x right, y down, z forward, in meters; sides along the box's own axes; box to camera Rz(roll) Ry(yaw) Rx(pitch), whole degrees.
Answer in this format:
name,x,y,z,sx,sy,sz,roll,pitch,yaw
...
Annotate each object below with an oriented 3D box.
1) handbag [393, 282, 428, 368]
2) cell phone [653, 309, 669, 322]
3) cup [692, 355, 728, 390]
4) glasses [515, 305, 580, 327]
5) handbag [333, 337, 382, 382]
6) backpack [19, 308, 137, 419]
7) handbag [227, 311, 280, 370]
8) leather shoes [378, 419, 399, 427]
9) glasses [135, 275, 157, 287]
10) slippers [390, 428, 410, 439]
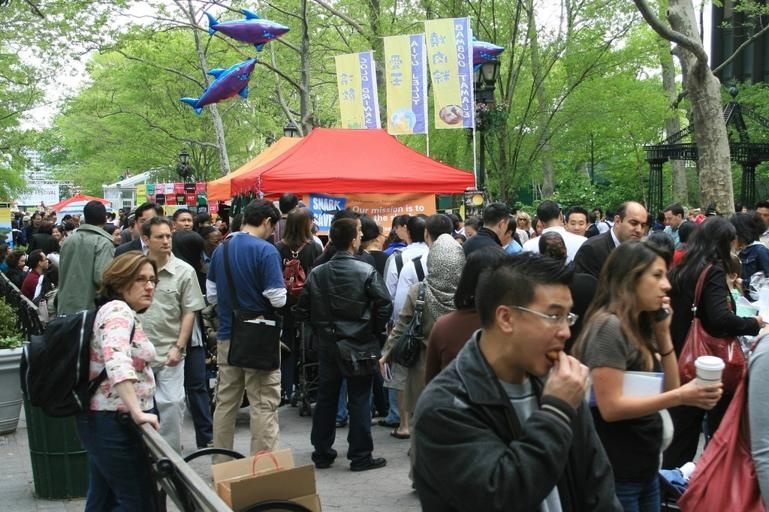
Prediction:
name,x,y,z,sx,sy,sz,roll,pitch,yaw
handbag,0.237,0.768,8.643,0.311,0.793,0.521,16,7,26
cell phone,2.226,0.479,6.376,0.078,0.066,0.135,22,55,38
cup,2.490,0.894,6.081,0.219,0.177,0.215,0,2,0
glasses,1.134,0.405,5.344,0.520,0.167,0.216,-4,1,-40
handbag,-0.260,1.103,8.920,0.669,0.593,0.380,1,-8,-28
backpack,-2.750,0.932,6.753,0.796,0.832,0.185,-4,2,3
handbag,-1.403,0.927,8.547,0.614,0.602,0.224,4,-8,-3
leather shoes,0.035,2.207,10.352,0.281,0.108,0.097,3,0,35
glasses,-2.101,0.228,7.003,0.077,0.084,0.222,-3,1,25
slippers,0.186,2.238,9.877,0.094,0.091,0.233,1,2,-41
